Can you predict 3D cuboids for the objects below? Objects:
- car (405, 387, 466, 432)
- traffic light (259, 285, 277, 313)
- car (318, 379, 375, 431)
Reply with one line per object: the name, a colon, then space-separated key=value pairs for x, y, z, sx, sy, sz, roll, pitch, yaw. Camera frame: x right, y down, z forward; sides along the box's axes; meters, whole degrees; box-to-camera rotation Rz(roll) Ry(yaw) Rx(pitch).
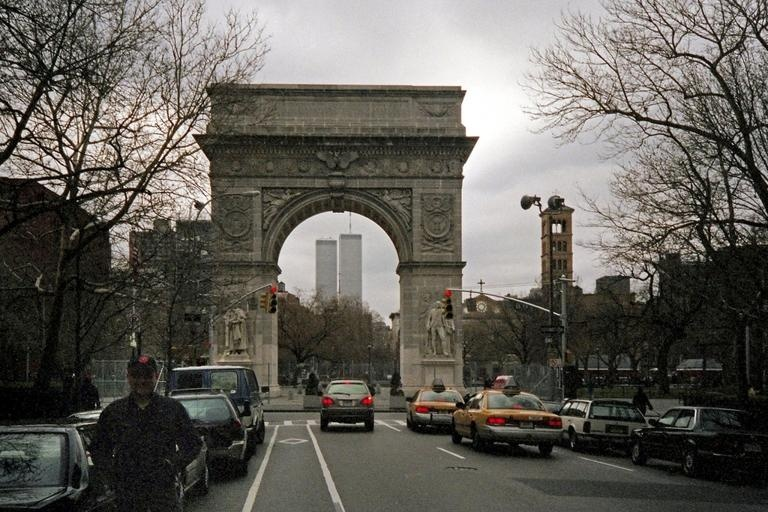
car: x=2.128 y=6.399 z=40.865 sx=2.036 sy=1.575 sz=4.690 roll=0 pitch=-6 yaw=-3
traffic light: x=-6.281 y=2.366 z=53.847 sx=0.802 sy=0.421 sz=1.718 roll=1 pitch=33 yaw=-5
car: x=-1.470 y=6.044 z=40.850 sx=1.776 sy=1.807 sz=4.181 roll=0 pitch=-4 yaw=-1
